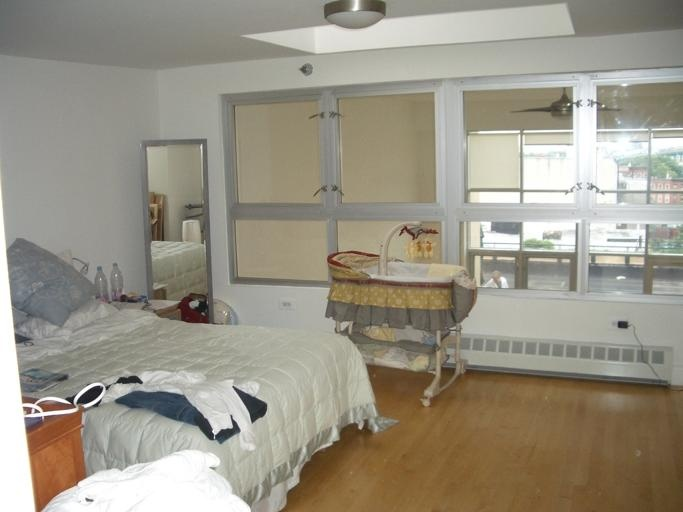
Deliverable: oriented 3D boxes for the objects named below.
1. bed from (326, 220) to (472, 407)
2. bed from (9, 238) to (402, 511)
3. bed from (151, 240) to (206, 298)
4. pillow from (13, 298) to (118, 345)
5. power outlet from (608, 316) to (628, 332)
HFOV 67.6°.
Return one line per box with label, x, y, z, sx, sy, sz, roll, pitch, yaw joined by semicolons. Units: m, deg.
bed;0.628;0.345;4.718;1.428;1.660;1.212;2;5;32
bed;-1.292;0.712;3.284;2.202;1.044;1.563;4;9;29
bed;-1.622;0.083;5.154;0.542;0.435;0.546;2;5;25
pillow;-2.026;0.462;3.683;0.307;0.096;0.313;24;21;11
power outlet;2.399;0.572;4.378;0.150;0.114;0.046;4;13;27
